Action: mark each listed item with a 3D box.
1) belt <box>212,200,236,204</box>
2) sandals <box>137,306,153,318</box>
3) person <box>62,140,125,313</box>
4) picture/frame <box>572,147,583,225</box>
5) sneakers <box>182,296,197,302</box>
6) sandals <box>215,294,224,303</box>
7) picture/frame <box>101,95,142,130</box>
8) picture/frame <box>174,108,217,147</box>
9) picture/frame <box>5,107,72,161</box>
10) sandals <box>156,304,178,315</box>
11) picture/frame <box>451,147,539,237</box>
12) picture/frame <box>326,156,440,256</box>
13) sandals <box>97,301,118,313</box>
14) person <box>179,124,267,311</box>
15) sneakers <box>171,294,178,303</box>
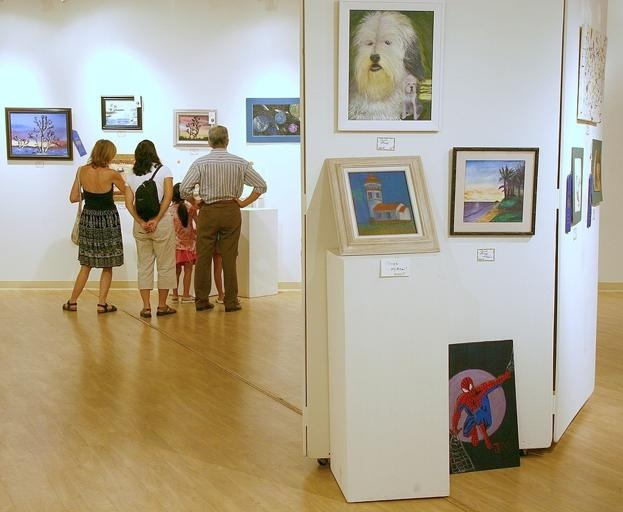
[{"bbox_3d":[-0.999,-0.636,6.015,0.256,0.056,0.061,-2,7,-9],"label":"belt"},{"bbox_3d":[-1.907,0.657,5.992,0.070,0.083,0.191,0,7,-8],"label":"sandals"},{"bbox_3d":[-2.539,-0.320,6.114,0.608,2.039,1.036,-5,8,-37],"label":"person"},{"bbox_3d":[1.610,-0.442,3.149,0.034,0.582,0.404,1,5,29],"label":"picture/frame"},{"bbox_3d":[-1.604,0.561,6.845,0.172,0.080,0.068,-1,3,-11],"label":"sneakers"},{"bbox_3d":[-1.200,0.563,6.796,0.080,0.121,0.258,1,-5,-13],"label":"sandals"},{"bbox_3d":[-2.781,-2.134,7.602,0.419,0.430,0.060,0,3,1],"label":"picture/frame"},{"bbox_3d":[-1.677,-1.889,7.662,0.741,0.740,0.437,1,8,-4],"label":"picture/frame"},{"bbox_3d":[-3.996,-1.828,7.591,0.635,0.639,0.059,-1,2,-4],"label":"picture/frame"},{"bbox_3d":[-1.715,0.628,6.176,0.099,0.106,0.225,7,8,44],"label":"sandals"},{"bbox_3d":[0.975,-0.367,2.806,0.399,0.459,0.031,-1,6,-5],"label":"picture/frame"},{"bbox_3d":[0.339,-0.249,2.559,0.471,0.553,0.039,-1,-25,-12],"label":"picture/frame"},{"bbox_3d":[-2.485,0.627,6.324,0.214,0.104,0.110,-6,11,-37],"label":"sandals"},{"bbox_3d":[-1.065,-0.283,6.149,0.899,1.928,0.352,-2,7,-17],"label":"person"},{"bbox_3d":[-1.791,0.564,6.796,0.050,0.081,0.181,-1,-27,-11],"label":"sneakers"}]
